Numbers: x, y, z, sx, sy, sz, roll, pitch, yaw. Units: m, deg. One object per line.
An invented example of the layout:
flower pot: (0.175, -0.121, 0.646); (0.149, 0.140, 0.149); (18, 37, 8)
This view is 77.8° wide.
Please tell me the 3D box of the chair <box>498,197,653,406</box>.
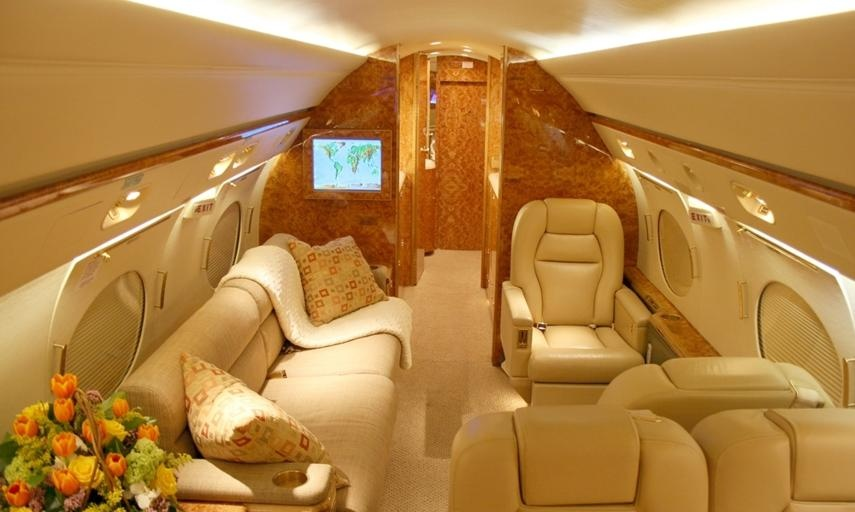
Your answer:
chair: (1.261, 0.356, 4.564); (1.150, 1.771, 0.817); (1, -5, 2)

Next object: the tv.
tv: (-0.838, -0.956, 5.323); (0.729, 0.538, 0.051); (0, 5, -6)

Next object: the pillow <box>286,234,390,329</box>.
pillow: (-0.725, 0.106, 4.678); (0.813, 0.744, 0.222); (-19, 7, 13)

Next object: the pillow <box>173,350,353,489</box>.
pillow: (-0.893, 0.582, 2.767); (0.580, 0.401, 1.033); (3, 5, -29)

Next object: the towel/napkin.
towel/napkin: (-0.973, 0.599, 4.515); (1.592, 0.657, 1.005); (8, -9, -10)
